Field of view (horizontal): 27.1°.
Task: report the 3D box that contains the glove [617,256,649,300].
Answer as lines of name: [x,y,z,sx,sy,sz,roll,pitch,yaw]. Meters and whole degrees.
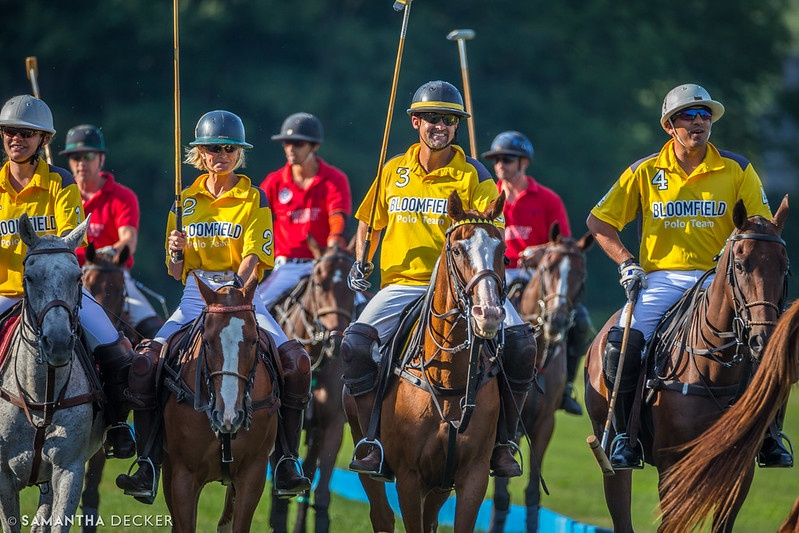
glove: [3.245,0.145,23.210,0.405,0.558,0.232,-5,-14,-1]

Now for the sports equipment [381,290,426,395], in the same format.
sports equipment: [0.055,1.083,23.022,0.284,1.516,0.235,37,-17,-36]

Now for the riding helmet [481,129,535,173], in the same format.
riding helmet: [1.915,-2.008,27.322,0.747,0.352,0.552,10,-10,-25]

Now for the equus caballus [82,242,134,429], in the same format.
equus caballus: [-4.254,1.015,24.031,0.726,2.828,2.005,-1,0,-7]
